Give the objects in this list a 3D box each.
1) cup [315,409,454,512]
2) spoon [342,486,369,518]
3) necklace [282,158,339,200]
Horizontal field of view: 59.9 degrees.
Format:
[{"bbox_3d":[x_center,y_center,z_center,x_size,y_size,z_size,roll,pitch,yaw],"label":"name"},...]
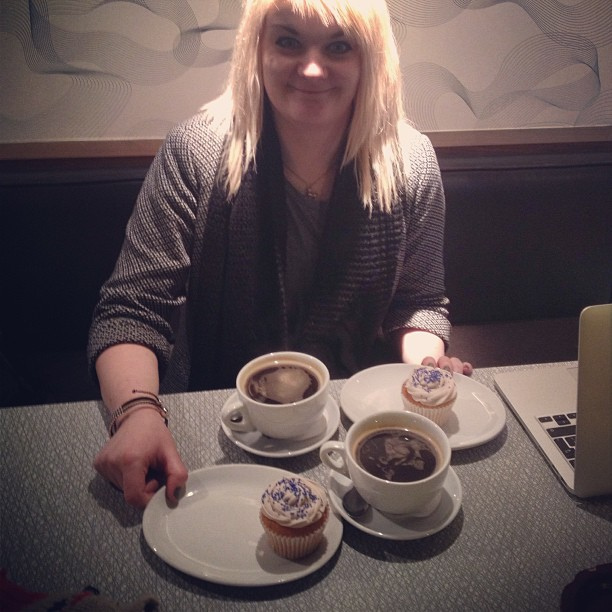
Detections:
[{"bbox_3d":[0.103,0.181,0.637,0.130,0.065,0.110,-1,28,7],"label":"cup"},{"bbox_3d":[0.066,0.228,0.618,0.017,0.011,0.029,3,29,-4],"label":"spoon"},{"bbox_3d":[0.006,-0.298,1.231,0.102,0.095,0.008,0,25,2],"label":"necklace"}]
